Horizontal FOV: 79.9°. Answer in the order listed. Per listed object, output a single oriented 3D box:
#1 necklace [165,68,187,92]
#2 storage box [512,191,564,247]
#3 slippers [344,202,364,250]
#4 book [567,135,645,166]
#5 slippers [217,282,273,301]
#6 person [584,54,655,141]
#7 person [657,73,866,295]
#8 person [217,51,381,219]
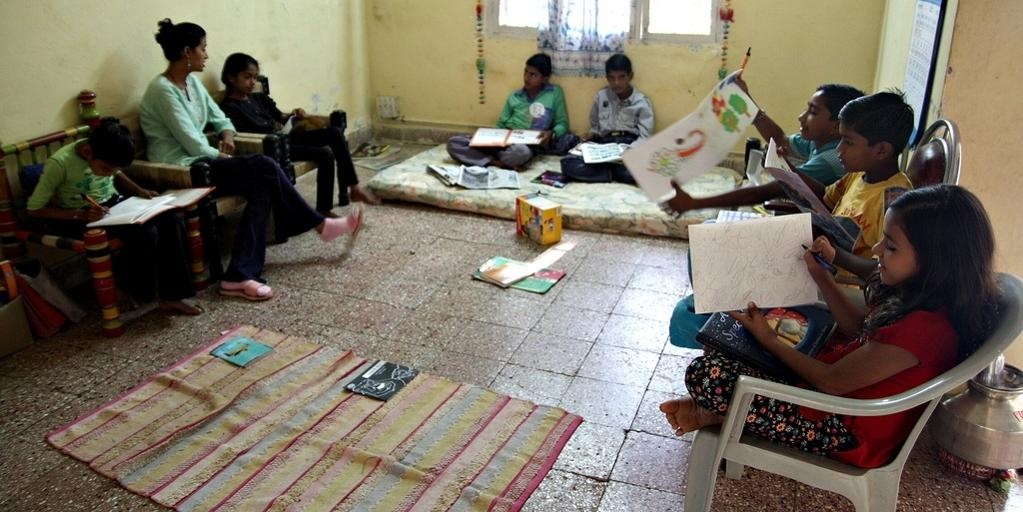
[{"bbox_3d":[-2.682,-1.403,4.883,0.184,0.071,0.149,45,33,20],"label":"necklace"},{"bbox_3d":[0.220,-0.294,5.357,0.266,0.339,0.477,-18,29,-41],"label":"storage box"},{"bbox_3d":[-1.357,-0.251,5.263,0.135,0.396,0.155,6,25,-16],"label":"slippers"},{"bbox_3d":[0.922,-1.086,6.308,0.523,0.153,0.649,14,29,27],"label":"book"},{"bbox_3d":[-2.035,0.267,4.706,0.435,0.116,0.144,3,24,1],"label":"slippers"},{"bbox_3d":[1.177,-1.643,6.449,0.688,0.871,0.537,4,30,7],"label":"person"},{"bbox_3d":[1.727,-0.747,4.183,1.629,0.748,0.687,-16,26,-10],"label":"person"},{"bbox_3d":[-2.050,-1.111,5.658,1.394,1.290,0.876,11,37,10],"label":"person"}]
